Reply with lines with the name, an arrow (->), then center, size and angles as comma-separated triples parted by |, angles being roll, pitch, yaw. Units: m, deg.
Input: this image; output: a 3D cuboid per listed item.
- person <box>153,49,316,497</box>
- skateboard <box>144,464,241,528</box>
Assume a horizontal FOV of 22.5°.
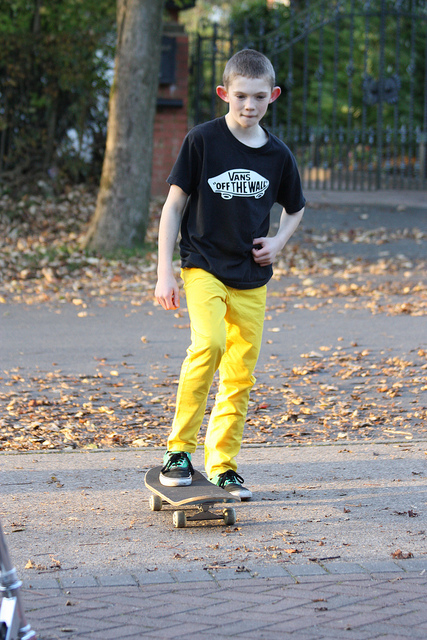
person -> 0.069, -0.206, 4.842 | 0.726, 1.965, 0.457 | -2, 9, -14
skateboard -> -0.117, 0.788, 4.735 | 0.332, 0.176, 0.542 | -4, 10, -21
